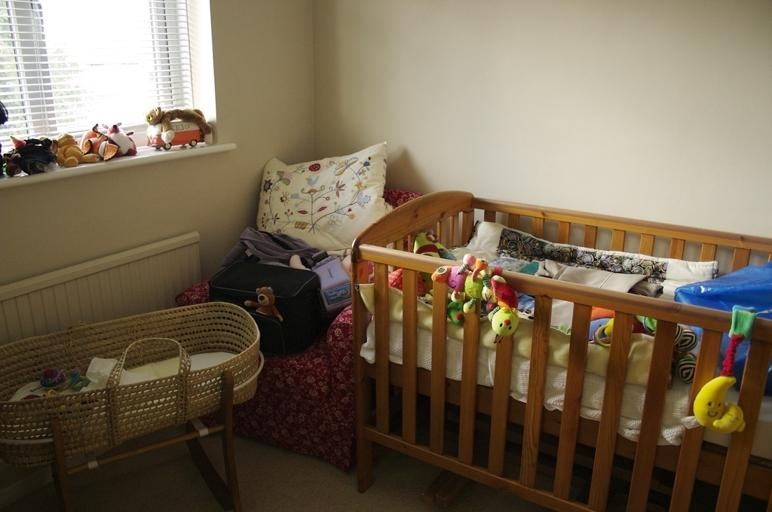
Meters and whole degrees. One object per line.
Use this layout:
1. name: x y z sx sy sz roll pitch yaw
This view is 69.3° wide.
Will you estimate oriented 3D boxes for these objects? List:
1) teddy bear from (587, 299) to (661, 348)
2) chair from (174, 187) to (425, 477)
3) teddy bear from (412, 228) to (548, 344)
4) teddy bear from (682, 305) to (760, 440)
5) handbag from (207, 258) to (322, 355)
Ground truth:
1. teddy bear: 0.822 0.252 2.003 0.177 0.066 0.177 -27 26 -33
2. chair: -0.343 0.499 2.691 0.624 0.646 0.669 9 22 25
3. teddy bear: 0.317 0.095 2.096 0.275 0.225 0.480 -33 52 -27
4. teddy bear: 1.070 0.358 1.715 0.223 0.409 0.129 -16 26 -41
5. handbag: -0.563 0.262 2.525 0.478 0.308 0.352 3 5 10
